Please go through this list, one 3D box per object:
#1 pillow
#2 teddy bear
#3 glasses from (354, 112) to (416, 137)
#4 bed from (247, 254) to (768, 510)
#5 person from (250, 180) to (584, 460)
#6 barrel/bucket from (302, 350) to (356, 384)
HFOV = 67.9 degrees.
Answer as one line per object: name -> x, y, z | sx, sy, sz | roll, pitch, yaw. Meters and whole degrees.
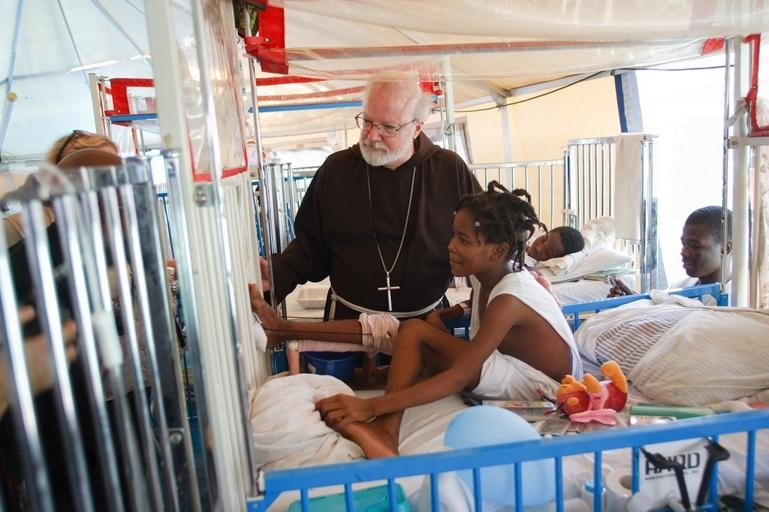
pillow -> 1.676, 0.024, 4.747 | 0.702, 0.214, 0.676 | -24, 28, 0
teddy bear -> 0.823, 0.536, 2.241 | 0.264, 0.214, 0.225 | -10, -10, 37
glasses -> 0.018, -0.659, 2.894 | 0.304, 0.139, 0.172 | -3, 8, 4
bed -> 0.272, 0.319, 2.061 | 1.419, 0.850, 0.963 | -4, 13, -16
person -> 0.169, 0.263, 2.543 | 1.435, 1.076, 0.650 | -7, 15, -20
barrel/bucket -> -0.265, 0.509, 2.734 | 0.183, 0.125, 0.180 | 2, 4, 0
